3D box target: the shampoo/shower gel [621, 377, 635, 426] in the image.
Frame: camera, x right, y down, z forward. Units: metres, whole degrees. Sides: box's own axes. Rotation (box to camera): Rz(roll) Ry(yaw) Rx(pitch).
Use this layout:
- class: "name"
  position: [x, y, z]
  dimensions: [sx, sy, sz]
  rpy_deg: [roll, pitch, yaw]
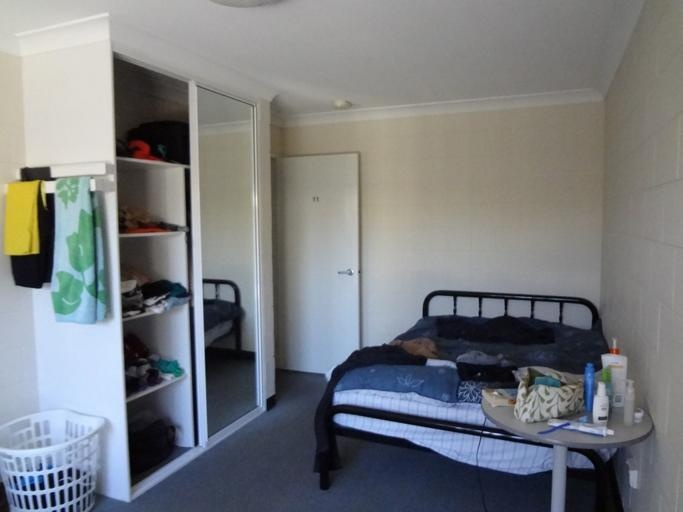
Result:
- class: "shampoo/shower gel"
  position: [1.386, 0.703, 2.552]
  dimensions: [0.051, 0.189, 0.111]
  rpy_deg: [7, 14, 29]

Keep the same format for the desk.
- class: "desk"
  position: [1.096, 0.849, 2.700]
  dimensions: [0.604, 0.669, 0.602]
  rpy_deg: [0, 0, 3]

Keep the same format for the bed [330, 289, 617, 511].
- class: "bed"
  position: [0.980, 0.824, 3.842]
  dimensions: [1.239, 0.784, 1.704]
  rpy_deg: [1, 6, 20]

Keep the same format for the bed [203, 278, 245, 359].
- class: "bed"
  position: [-0.929, 0.417, 4.102]
  dimensions: [0.334, 0.335, 0.507]
  rpy_deg: [0, 2, 3]

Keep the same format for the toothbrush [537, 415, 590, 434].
- class: "toothbrush"
  position: [1.074, 0.803, 2.544]
  dimensions: [0.183, 0.049, 0.102]
  rpy_deg: [-4, -3, -42]

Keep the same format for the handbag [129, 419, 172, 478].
- class: "handbag"
  position: [-1.282, 1.264, 3.607]
  dimensions: [0.298, 0.218, 0.405]
  rpy_deg: [-5, 14, -20]
